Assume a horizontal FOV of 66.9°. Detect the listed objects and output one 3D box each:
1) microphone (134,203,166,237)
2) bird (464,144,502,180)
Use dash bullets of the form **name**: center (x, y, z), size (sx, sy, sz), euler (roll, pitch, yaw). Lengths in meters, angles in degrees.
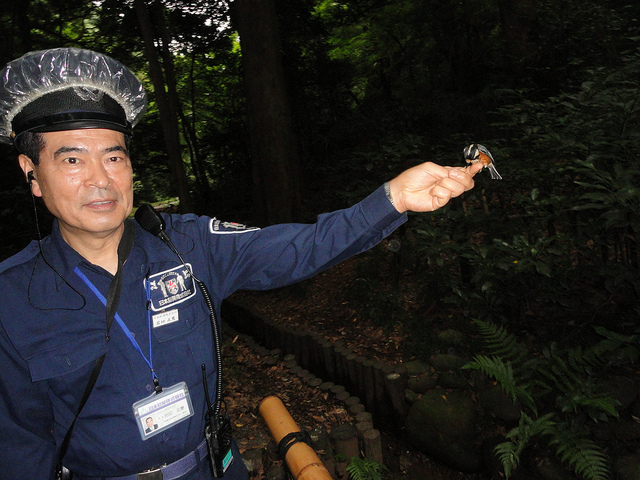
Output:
- **microphone**: center (-1.055, -0.134, 3.154), size (0.165, 0.232, 0.083), euler (-45, -12, 19)
- **bird**: center (0.967, -0.472, 2.908), size (0.179, 0.219, 0.237), euler (-6, 12, 20)
